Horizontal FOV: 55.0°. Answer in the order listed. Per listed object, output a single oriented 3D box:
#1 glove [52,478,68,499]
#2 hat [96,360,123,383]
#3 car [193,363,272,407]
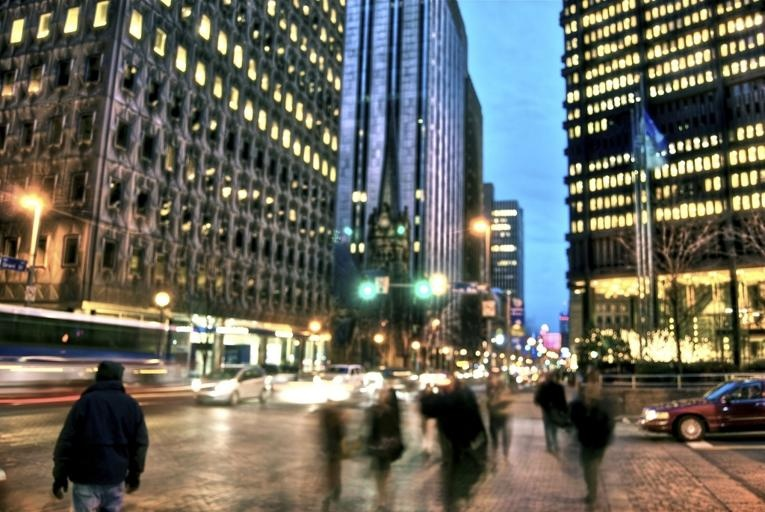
[{"bbox_3d":[-9.612,6.977,21.981,0.356,0.600,0.835,5,-12,-26],"label":"glove"},{"bbox_3d":[-8.143,3.478,22.395,0.545,0.696,0.758,3,0,10],"label":"hat"},{"bbox_3d":[-8.818,7.692,44.049,1.822,2.454,4.629,-6,-12,30],"label":"car"}]
